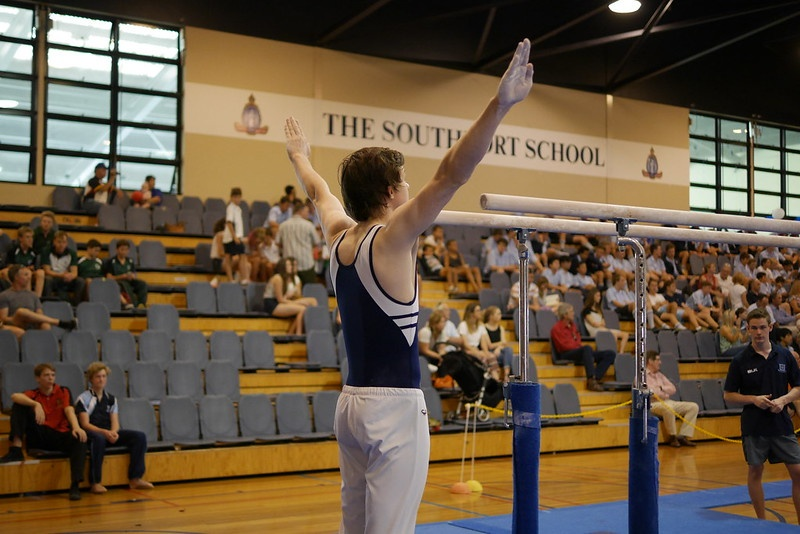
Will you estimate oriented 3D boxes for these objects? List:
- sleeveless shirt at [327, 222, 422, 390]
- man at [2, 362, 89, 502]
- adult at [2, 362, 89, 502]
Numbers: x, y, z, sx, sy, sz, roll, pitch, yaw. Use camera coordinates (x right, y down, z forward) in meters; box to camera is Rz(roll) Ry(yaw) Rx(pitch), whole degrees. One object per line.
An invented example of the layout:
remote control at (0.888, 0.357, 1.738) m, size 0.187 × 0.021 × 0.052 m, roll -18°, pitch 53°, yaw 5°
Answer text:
sleeveless shirt at (-0.282, 0.378, 9.945) m, size 0.912 × 1.840 × 0.976 m, roll 0°, pitch -8°, yaw -10°
man at (-5.315, 2.519, 13.693) m, size 1.193 × 2.252 × 1.247 m, roll 1°, pitch -38°, yaw -19°
adult at (-5.315, 2.519, 13.693) m, size 1.193 × 2.252 × 1.247 m, roll 1°, pitch -38°, yaw -19°
